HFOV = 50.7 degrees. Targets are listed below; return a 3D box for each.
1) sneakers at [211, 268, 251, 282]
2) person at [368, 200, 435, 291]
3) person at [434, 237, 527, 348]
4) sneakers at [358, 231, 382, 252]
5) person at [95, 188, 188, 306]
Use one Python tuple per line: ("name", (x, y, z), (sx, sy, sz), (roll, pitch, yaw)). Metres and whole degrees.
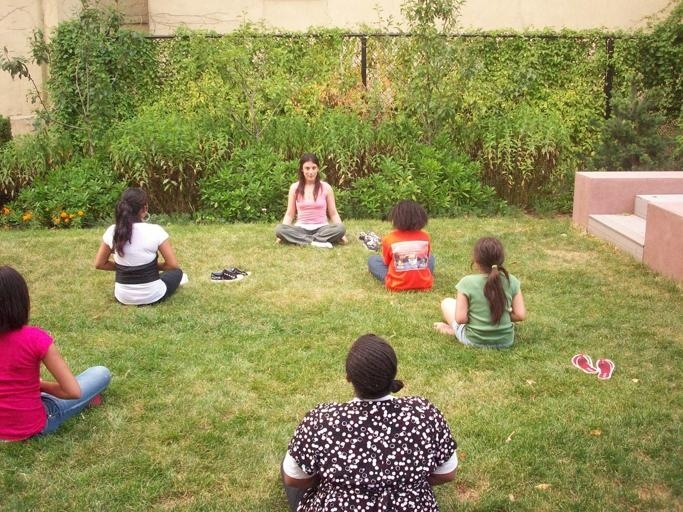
("sneakers", (-1.339, 0.219, 8.523), (0.262, 0.098, 0.222), (-2, 8, -1))
("person", (0.701, -0.157, 8.263), (0.769, 1.082, 0.884), (-2, 12, -4))
("person", (1.374, 0.277, 7.143), (0.845, 1.053, 0.941), (-3, 15, -4))
("sneakers", (0.387, -0.201, 9.764), (0.202, 0.115, 0.297), (-7, 26, -19))
("person", (-2.183, -0.151, 7.899), (0.762, 1.284, 1.111), (1, 11, 2))
